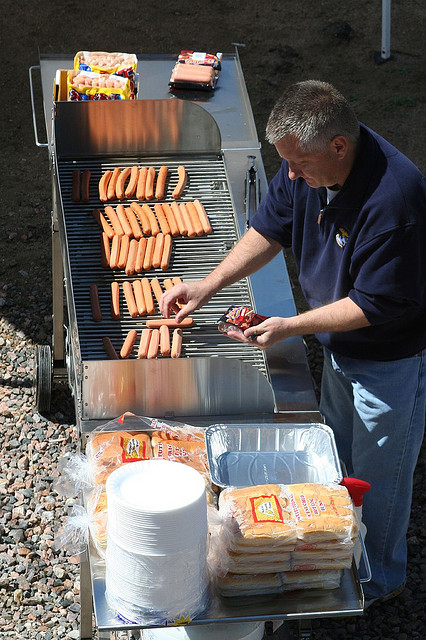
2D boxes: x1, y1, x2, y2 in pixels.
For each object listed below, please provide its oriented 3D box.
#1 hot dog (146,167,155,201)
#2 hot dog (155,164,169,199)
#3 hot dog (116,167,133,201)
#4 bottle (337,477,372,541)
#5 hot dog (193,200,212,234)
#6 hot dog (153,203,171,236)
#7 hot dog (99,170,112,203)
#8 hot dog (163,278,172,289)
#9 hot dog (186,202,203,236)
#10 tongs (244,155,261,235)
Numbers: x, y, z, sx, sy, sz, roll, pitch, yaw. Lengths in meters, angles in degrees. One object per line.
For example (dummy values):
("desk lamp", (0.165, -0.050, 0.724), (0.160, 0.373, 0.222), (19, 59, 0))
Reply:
("hot dog", (-0.368, -0.808, 3.546), (0.057, 0.040, 0.195), (5, 60, -11))
("hot dog", (-0.307, -0.818, 3.566), (0.057, 0.061, 0.218), (-8, 47, 22))
("hot dog", (-0.525, -0.812, 3.550), (0.075, 0.050, 0.194), (19, 44, -8))
("bottle", (0.439, 0.616, 1.866), (0.115, 0.043, 0.198), (15, 67, -37))
("hot dog", (-0.063, -0.573, 3.383), (0.077, 0.068, 0.266), (-8, 48, -22))
("hot dog", (-0.296, -0.574, 3.404), (0.059, 0.066, 0.281), (7, 39, -27))
("hot dog", (-0.623, -0.779, 3.555), (0.056, 0.054, 0.217), (18, 42, -12))
("hot dog", (-0.225, -0.180, 3.001), (0.038, 0.038, 0.058), (-27, 43, 10))
("hot dog", (-0.104, -0.554, 3.351), (0.059, 0.055, 0.231), (2, 43, -26))
("tongs", (0.231, -0.755, 3.490), (0.094, 0.133, 0.495), (2, 55, 7))
